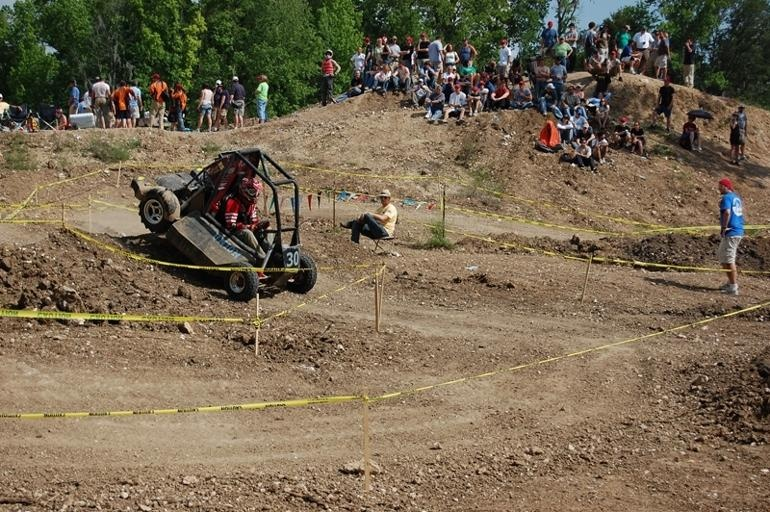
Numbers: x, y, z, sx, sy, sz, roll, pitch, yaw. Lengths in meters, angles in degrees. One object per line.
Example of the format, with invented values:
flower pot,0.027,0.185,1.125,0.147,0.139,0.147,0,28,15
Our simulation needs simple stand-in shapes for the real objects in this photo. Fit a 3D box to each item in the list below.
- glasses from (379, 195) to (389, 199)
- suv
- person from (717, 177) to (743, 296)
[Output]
glasses,-0.052,-1.838,37.402,0.255,0.135,0.160,6,10,19
suv,-4.596,-1.720,36.291,6.286,3.328,3.393,35,26,24
person,10.496,-0.602,36.880,0.811,3.450,0.931,9,11,28
